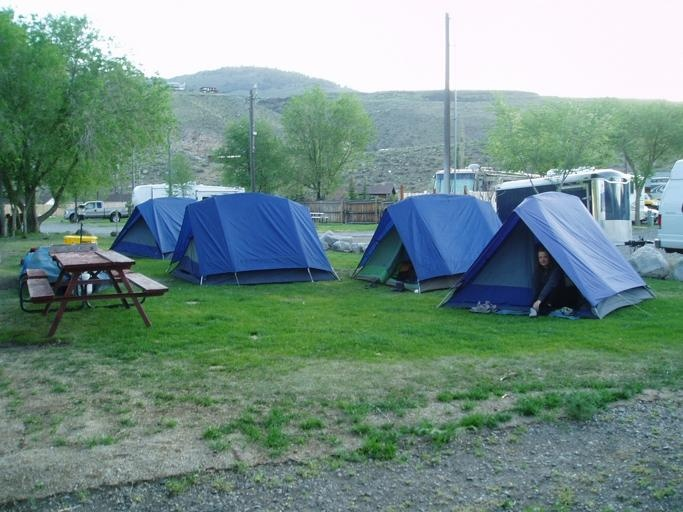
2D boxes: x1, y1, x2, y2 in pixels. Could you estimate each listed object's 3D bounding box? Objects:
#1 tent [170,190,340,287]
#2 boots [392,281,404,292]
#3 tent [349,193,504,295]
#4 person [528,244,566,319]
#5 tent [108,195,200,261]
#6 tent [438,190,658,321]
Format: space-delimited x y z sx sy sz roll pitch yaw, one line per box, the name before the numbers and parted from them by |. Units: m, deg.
tent | -2.840 -0.566 15.676 2.840 1.487 2.790 -4 8 -30
boots | 1.408 0.710 14.171 0.280 0.198 0.373 1 12 4
tent | 1.981 -0.386 14.666 2.653 1.249 2.648 -13 11 -26
person | 3.896 0.360 11.289 0.756 1.185 1.182 9 22 40
tent | -7.139 -1.055 21.096 2.887 1.359 2.917 7 14 22
tent | 4.316 0.081 11.521 2.798 1.760 2.734 -12 14 -37
